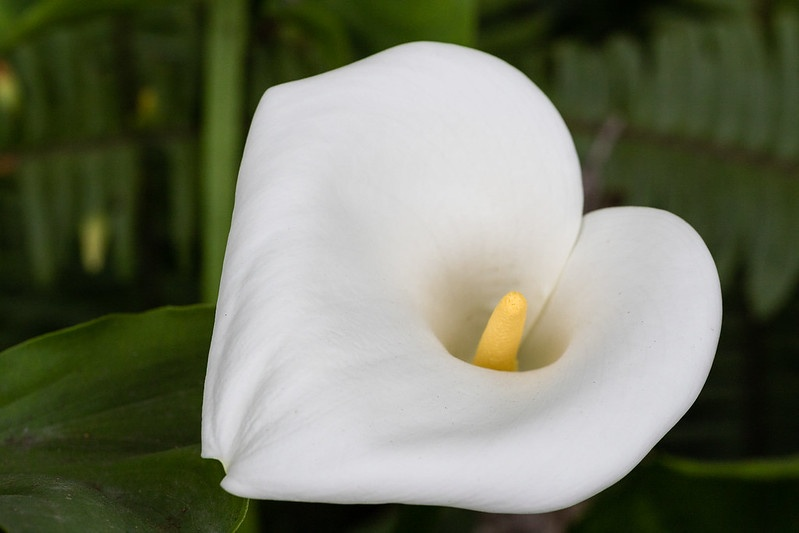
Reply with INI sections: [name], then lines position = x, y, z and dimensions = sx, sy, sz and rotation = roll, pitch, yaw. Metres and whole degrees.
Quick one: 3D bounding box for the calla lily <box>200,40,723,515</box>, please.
[calla lily]
position = 0.058, 0.039, 0.710
dimensions = 0.391, 0.259, 0.359
rotation = 7, 54, 3
